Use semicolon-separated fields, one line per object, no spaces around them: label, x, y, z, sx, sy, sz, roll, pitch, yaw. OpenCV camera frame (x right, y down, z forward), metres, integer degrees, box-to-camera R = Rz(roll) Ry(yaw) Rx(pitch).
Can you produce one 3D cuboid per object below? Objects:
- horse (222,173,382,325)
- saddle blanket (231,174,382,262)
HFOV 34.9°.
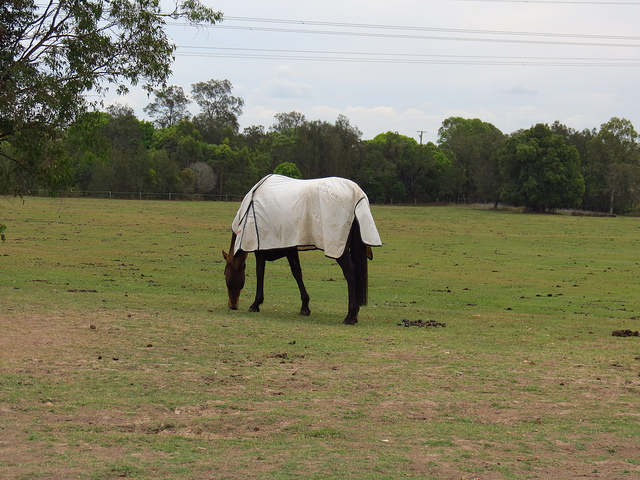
horse;-0.677;0.296;26.963;5.238;3.905;1.623;-3;-3;35
saddle blanket;-0.487;-0.507;26.852;4.409;2.471;2.103;-5;-5;25
